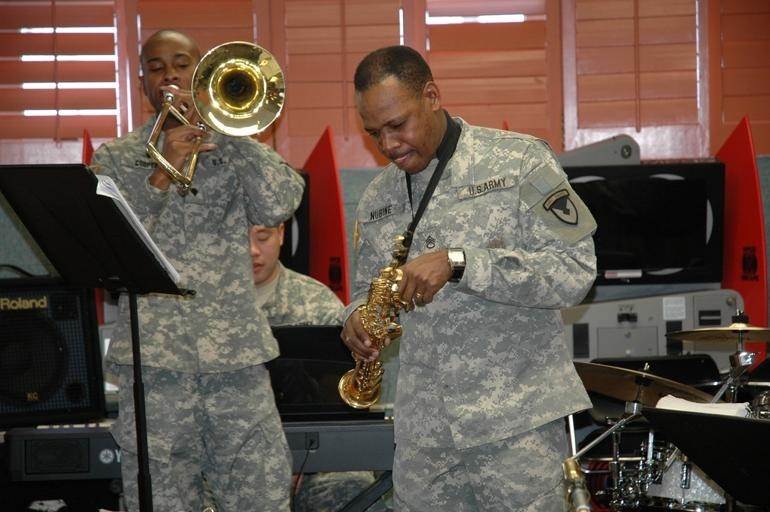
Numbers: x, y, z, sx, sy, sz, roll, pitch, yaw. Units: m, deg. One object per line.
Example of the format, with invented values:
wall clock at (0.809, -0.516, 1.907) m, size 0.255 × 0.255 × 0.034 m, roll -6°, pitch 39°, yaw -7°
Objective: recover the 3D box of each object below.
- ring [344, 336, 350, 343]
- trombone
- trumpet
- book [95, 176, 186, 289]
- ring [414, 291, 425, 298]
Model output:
ring at (-0.185, 0.397, 4.782) m, size 0.024 × 0.008 × 0.031 m, roll 6°, pitch -24°, yaw -3°
trombone at (-0.786, -0.811, 5.432) m, size 0.459 × 0.430 × 0.800 m, roll -3°, pitch -6°, yaw -7°
trumpet at (-0.065, 0.329, 4.791) m, size 0.252 × 0.913 × 0.295 m, roll -4°, pitch 36°, yaw -21°
book at (-1.144, -0.148, 4.446) m, size 0.126 × 0.516 × 0.480 m, roll -33°, pitch 4°, yaw -11°
ring at (0.155, 0.171, 4.490) m, size 0.054 × 0.036 × 0.024 m, roll -3°, pitch -6°, yaw 13°
